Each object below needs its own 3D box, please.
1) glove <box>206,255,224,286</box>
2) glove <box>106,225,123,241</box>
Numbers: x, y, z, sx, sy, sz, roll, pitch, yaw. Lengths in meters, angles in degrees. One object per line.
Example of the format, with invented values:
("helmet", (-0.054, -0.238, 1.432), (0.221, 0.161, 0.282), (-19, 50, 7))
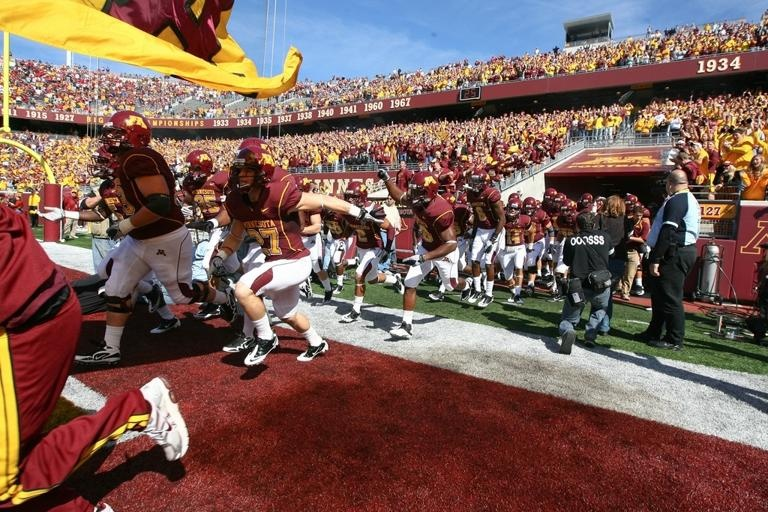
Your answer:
("glove", (-1.955, 0.191, 5.393), (0.161, 0.353, 0.276), (4, 16, -1))
("glove", (-2.996, -0.262, 5.154), (0.122, 0.119, 0.301), (2, 0, -11))
